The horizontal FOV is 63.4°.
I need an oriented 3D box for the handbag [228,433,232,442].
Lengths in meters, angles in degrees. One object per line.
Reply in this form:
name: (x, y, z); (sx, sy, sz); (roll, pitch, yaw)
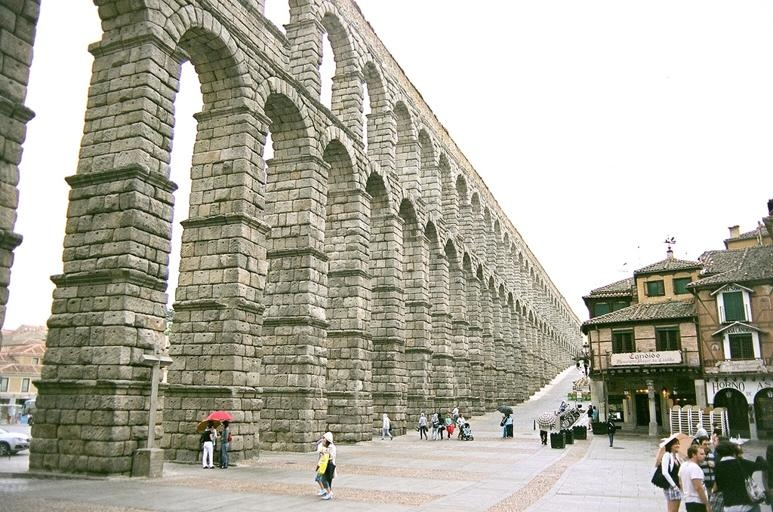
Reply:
handbag: (-5.461, 6.272, 21.775); (0.180, 0.222, 0.087); (-14, 18, -40)

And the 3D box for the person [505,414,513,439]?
person: (6.862, 9.502, 35.199); (0.409, 1.235, 0.663); (-1, -19, 0)

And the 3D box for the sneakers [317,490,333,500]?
sneakers: (-1.675, 6.499, 17.103); (0.415, 0.167, 0.142); (3, -27, -2)

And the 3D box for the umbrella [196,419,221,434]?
umbrella: (-6.123, 5.720, 21.371); (0.649, 0.209, 0.617); (-23, -38, 6)

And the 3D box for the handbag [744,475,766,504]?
handbag: (7.825, 4.903, 13.231); (0.468, 0.541, 0.245); (16, -26, -41)

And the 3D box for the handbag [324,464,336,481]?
handbag: (-1.562, 5.926, 17.328); (0.191, 0.442, 0.501); (-3, -19, 5)

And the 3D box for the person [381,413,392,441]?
person: (0.051, 8.932, 33.371); (0.521, 1.306, 0.868); (-1, -19, 0)

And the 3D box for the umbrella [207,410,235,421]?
umbrella: (-5.740, 5.431, 21.552); (0.793, 0.422, 0.940); (3, -19, -12)
